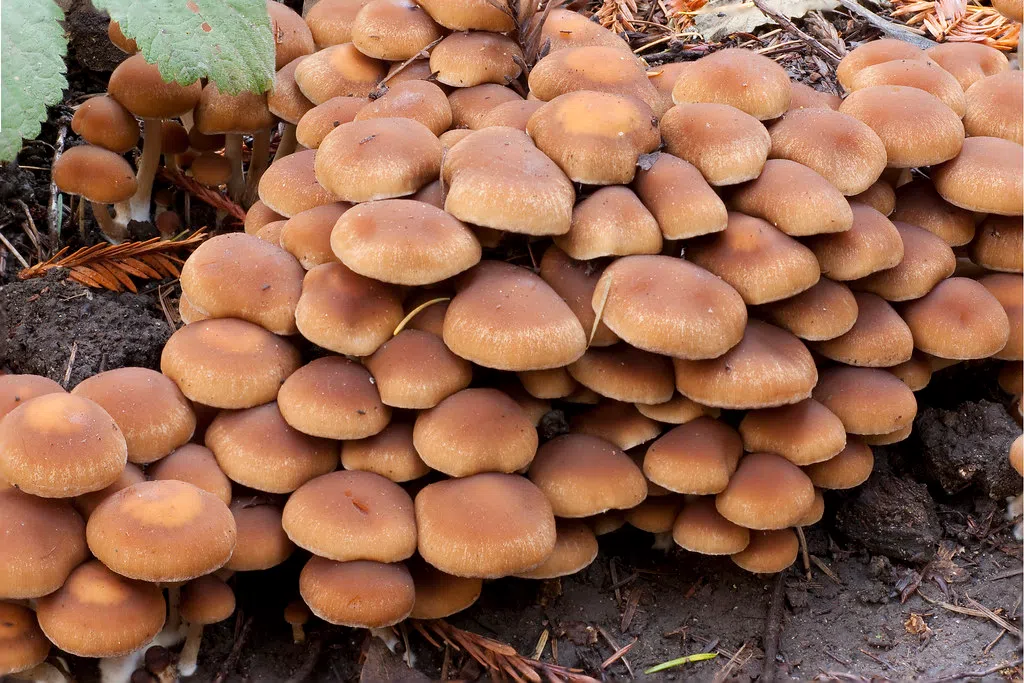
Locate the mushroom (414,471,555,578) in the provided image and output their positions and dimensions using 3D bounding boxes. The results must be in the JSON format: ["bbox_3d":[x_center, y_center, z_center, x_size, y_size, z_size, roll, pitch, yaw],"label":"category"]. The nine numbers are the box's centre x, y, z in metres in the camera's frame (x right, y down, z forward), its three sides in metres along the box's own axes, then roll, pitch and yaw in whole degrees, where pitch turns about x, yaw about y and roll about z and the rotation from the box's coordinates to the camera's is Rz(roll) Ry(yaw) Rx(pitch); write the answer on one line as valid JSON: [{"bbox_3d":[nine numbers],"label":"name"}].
[{"bbox_3d":[-0.144,0.939,5.491,0.706,0.211,0.512,-6,68,-2],"label":"mushroom"}]

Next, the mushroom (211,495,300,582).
[{"bbox_3d":[-1.327,1.002,5.566,0.421,0.286,0.393,7,26,-2],"label":"mushroom"}]

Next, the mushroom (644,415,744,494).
[{"bbox_3d":[0.987,0.638,5.871,0.467,0.345,0.459,22,70,10],"label":"mushroom"}]

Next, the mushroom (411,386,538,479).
[{"bbox_3d":[-0.188,0.519,5.656,0.582,0.353,0.492,-30,70,-11],"label":"mushroom"}]

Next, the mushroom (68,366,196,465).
[{"bbox_3d":[-1.984,0.393,5.743,0.553,0.364,0.505,25,27,-11],"label":"mushroom"}]

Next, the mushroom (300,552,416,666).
[{"bbox_3d":[-0.803,1.319,5.545,0.458,0.422,0.436,-11,41,-41],"label":"mushroom"}]

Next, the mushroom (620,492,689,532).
[{"bbox_3d":[0.812,0.967,6.009,0.265,0.129,0.234,-9,41,-7],"label":"mushroom"}]
